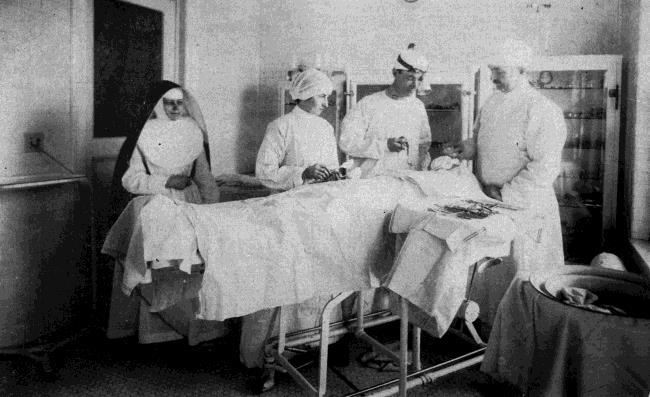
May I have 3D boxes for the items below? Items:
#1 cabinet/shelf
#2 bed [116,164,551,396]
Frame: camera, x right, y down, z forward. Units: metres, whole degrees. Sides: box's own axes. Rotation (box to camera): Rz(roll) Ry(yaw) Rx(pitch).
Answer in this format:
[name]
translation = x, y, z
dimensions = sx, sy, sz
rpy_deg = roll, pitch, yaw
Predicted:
[cabinet/shelf]
translation = 0.751, -0.198, 3.336
dimensions = 1.256, 1.316, 0.436
rpy_deg = -1, 8, -1
[bed]
translation = -0.020, 0.255, 2.964
dimensions = 1.843, 0.613, 1.133
rpy_deg = -5, 13, -17
